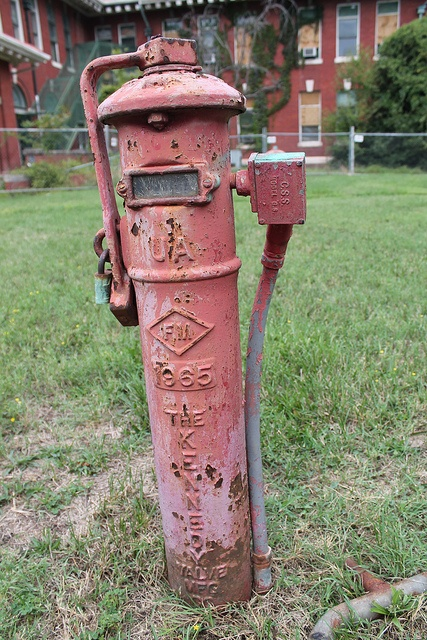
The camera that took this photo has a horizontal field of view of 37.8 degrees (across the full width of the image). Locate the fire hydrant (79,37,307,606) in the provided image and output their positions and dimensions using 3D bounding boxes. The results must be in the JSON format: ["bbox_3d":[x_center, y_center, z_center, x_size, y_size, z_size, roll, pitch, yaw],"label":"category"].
[{"bbox_3d":[-0.035,0.065,1.913,0.632,1.750,0.351,-4,16,-1],"label":"fire hydrant"}]
